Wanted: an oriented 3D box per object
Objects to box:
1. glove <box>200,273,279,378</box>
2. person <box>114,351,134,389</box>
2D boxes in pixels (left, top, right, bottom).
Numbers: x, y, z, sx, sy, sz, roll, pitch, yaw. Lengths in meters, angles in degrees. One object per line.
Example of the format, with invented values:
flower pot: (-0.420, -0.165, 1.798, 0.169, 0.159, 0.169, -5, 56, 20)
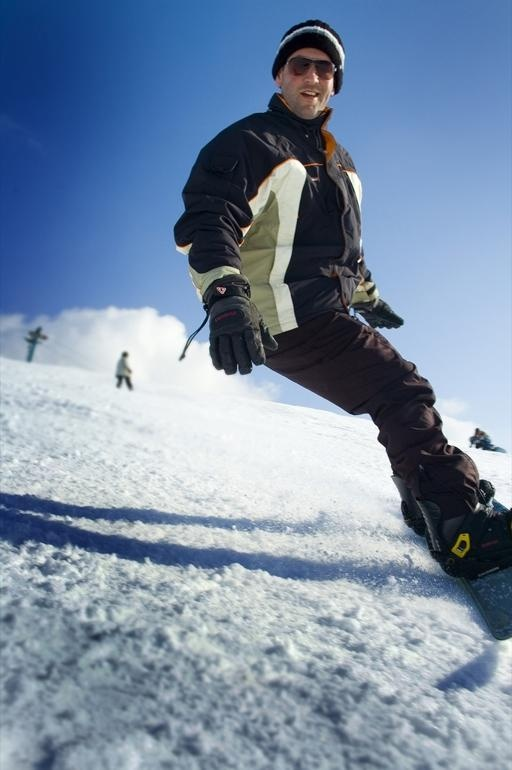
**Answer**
glove: (-0.046, -0.137, 1.624, 0.184, 0.272, 0.097, -20, -13, 13)
person: (-2.445, -0.268, 11.329, 0.353, 0.625, 1.294, 11, 3, -13)
